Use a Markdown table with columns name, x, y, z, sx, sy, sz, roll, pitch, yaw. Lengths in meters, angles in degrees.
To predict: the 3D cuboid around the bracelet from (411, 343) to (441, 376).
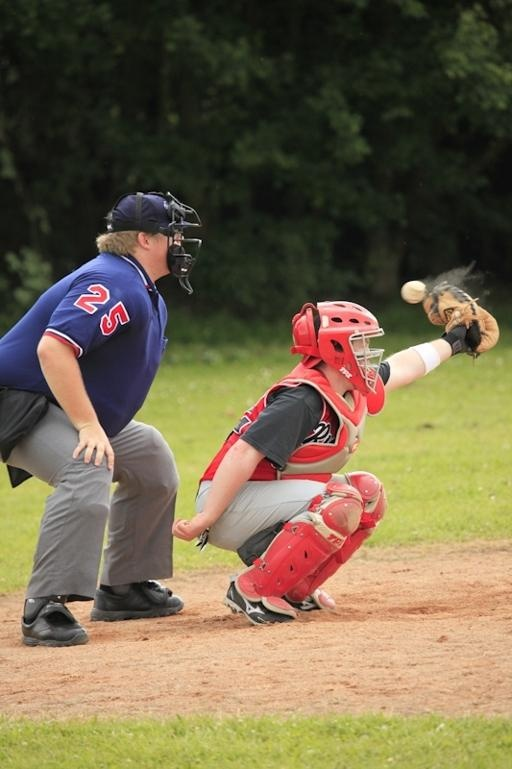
| name | x | y | z | sx | sy | sz | roll | pitch | yaw |
| --- | --- | --- | --- | --- | --- | --- | --- | --- | --- |
| bracelet | 0.749 | -0.122 | 4.470 | 0.112 | 0.126 | 0.132 | -25 | -15 | -14 |

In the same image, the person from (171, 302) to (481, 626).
| name | x | y | z | sx | sy | sz | roll | pitch | yaw |
| --- | --- | --- | --- | --- | --- | --- | --- | --- | --- |
| person | 0.133 | 0.310 | 4.008 | 0.832 | 1.273 | 0.518 | -3 | 4 | -1 |

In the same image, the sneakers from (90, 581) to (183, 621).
| name | x | y | z | sx | sy | sz | roll | pitch | yaw |
| --- | --- | --- | --- | --- | --- | --- | --- | --- | --- |
| sneakers | -0.543 | 0.965 | 4.481 | 0.442 | 0.174 | 0.160 | -2 | 3 | -9 |

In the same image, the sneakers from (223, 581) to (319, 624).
| name | x | y | z | sx | sy | sz | roll | pitch | yaw |
| --- | --- | --- | --- | --- | --- | --- | --- | --- | --- |
| sneakers | 0.115 | 0.890 | 4.062 | 0.477 | 0.185 | 0.143 | 2 | 52 | 3 |

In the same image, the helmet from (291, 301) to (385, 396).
| name | x | y | z | sx | sy | sz | roll | pitch | yaw |
| --- | --- | --- | --- | --- | --- | --- | --- | --- | --- |
| helmet | 0.378 | -0.174 | 4.101 | 0.460 | 0.351 | 0.325 | -2 | 3 | 3 |

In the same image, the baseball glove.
| name | x | y | z | sx | sy | sz | roll | pitch | yaw |
| --- | --- | --- | --- | --- | --- | --- | --- | --- | --- |
| baseball glove | 0.955 | -0.305 | 4.631 | 0.276 | 0.371 | 0.153 | -41 | -10 | 7 |

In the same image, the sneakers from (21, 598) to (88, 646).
| name | x | y | z | sx | sy | sz | roll | pitch | yaw |
| --- | --- | --- | --- | --- | --- | --- | --- | --- | --- |
| sneakers | -0.802 | 0.915 | 3.926 | 0.149 | 0.121 | 0.293 | -1 | -1 | -39 |
